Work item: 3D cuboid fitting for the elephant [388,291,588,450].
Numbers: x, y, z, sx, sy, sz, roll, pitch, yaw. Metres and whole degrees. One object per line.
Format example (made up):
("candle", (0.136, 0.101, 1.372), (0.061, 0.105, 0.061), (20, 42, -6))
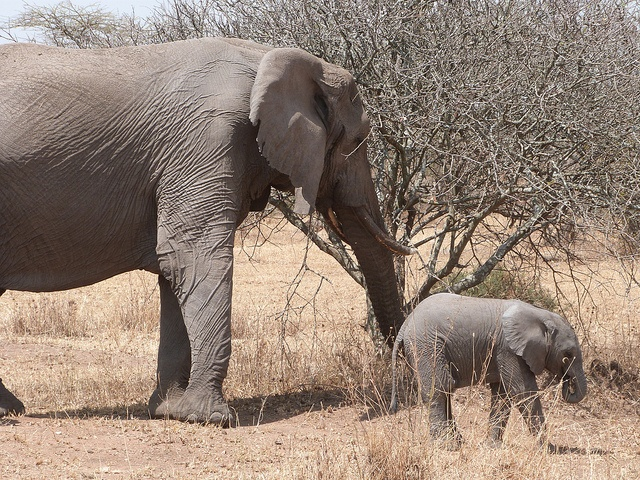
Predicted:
("elephant", (1.550, 1.202, 7.122), (1.717, 1.401, 0.782), (0, -1, 5))
